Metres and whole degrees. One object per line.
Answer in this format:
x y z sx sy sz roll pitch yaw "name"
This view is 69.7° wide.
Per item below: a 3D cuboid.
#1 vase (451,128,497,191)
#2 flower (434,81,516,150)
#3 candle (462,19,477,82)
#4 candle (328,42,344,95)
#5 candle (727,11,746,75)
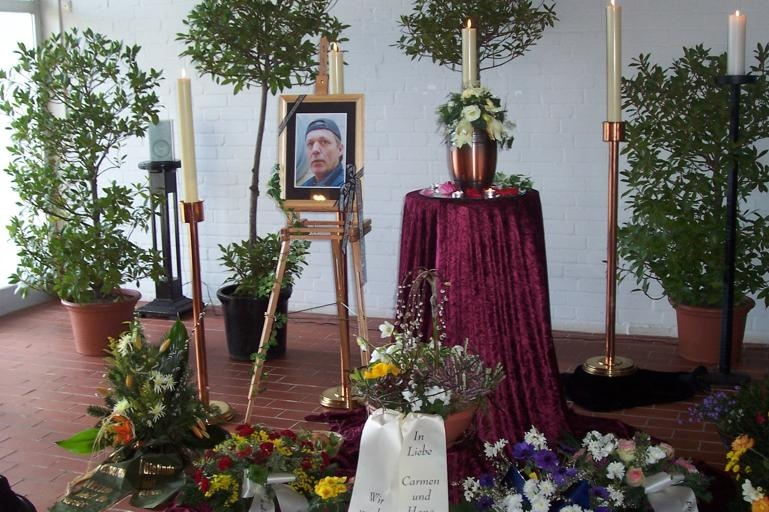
0.425 -0.472 2.662 0.281 0.293 0.267 -5 8 -18 "vase"
0.447 -0.682 2.724 0.382 0.300 0.267 1 6 7 "flower"
0.424 -1.009 2.763 0.070 0.364 0.200 1 6 7 "candle"
-0.281 -1.058 3.130 0.085 0.332 0.298 -1 6 -6 "candle"
1.964 -1.178 3.071 0.087 0.364 0.130 4 7 32 "candle"
